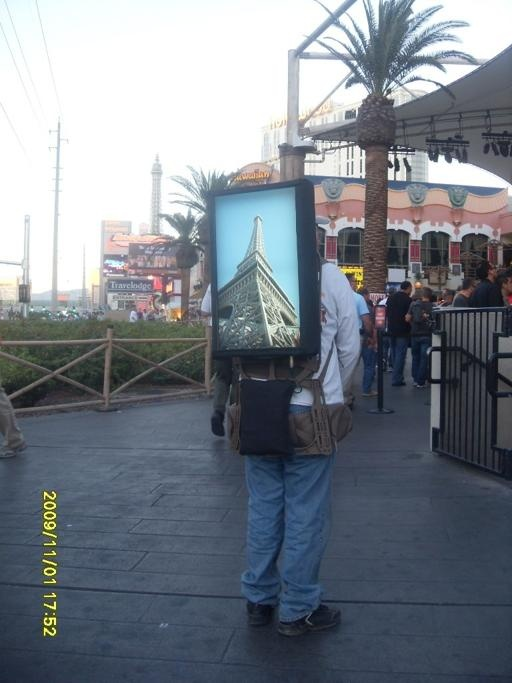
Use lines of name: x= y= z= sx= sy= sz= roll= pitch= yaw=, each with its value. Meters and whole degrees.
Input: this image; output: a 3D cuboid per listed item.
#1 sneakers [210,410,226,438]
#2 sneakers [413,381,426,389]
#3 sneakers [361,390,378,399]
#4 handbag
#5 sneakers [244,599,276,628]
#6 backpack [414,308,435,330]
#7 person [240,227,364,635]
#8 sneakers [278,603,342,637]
sneakers: x=-0.259 y=0.575 z=4.408 sx=0.126 sy=0.179 sz=0.064 roll=-2 pitch=12 yaw=4
sneakers: x=2.982 y=0.805 z=11.956 sx=0.076 sy=0.102 sz=0.236 roll=8 pitch=12 yaw=36
sneakers: x=1.882 y=0.880 z=10.747 sx=0.250 sy=0.102 sz=0.091 roll=-4 pitch=8 yaw=4
handbag: x=0.045 y=0.319 z=2.702 sx=0.245 sy=0.320 sz=0.114 roll=0 pitch=0 yaw=22
sneakers: x=0.017 y=1.136 z=2.713 sx=0.055 sy=0.066 sz=0.144 roll=0 pitch=0 yaw=8
backpack: x=2.970 y=-0.390 z=11.517 sx=0.193 sy=0.403 sz=0.421 roll=0 pitch=1 yaw=-26
person: x=0.188 y=0.423 z=2.777 sx=0.537 sy=1.542 sz=0.378 roll=0 pitch=1 yaw=0
sneakers: x=0.218 y=1.126 z=2.717 sx=0.263 sy=0.114 sz=0.097 roll=-5 pitch=5 yaw=-31
